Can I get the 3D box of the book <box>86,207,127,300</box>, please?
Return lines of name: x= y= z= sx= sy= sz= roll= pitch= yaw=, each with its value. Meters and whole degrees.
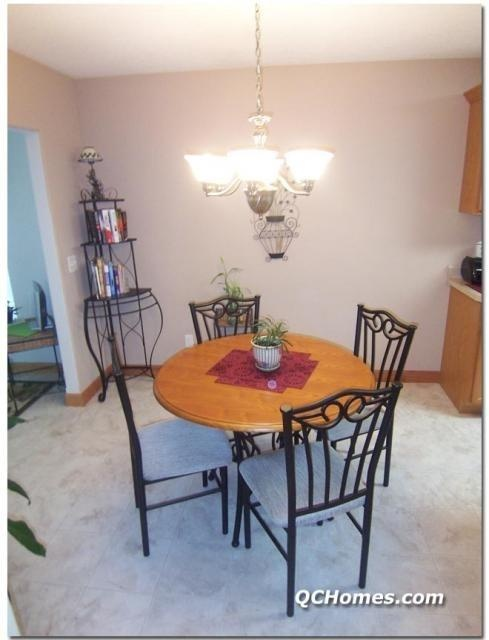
book: x=-1.026 y=-0.531 z=3.709 sx=0.327 sy=0.663 sz=0.425 roll=-8 pitch=15 yaw=-17

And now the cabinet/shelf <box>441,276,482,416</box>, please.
cabinet/shelf: x=1.488 y=0.180 z=3.328 sx=0.278 sy=0.777 sz=0.771 roll=3 pitch=12 yaw=16

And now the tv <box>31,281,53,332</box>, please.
tv: x=-1.609 y=-0.110 z=3.858 sx=0.104 sy=0.334 sz=0.329 roll=-3 pitch=13 yaw=-24

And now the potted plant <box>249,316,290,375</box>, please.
potted plant: x=0.157 y=0.125 z=2.391 sx=0.181 sy=0.262 sz=0.254 roll=-5 pitch=25 yaw=-11

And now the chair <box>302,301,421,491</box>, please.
chair: x=0.530 y=0.390 z=2.562 sx=0.537 sy=0.905 sz=0.549 roll=18 pitch=20 yaw=41

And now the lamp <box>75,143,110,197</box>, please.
lamp: x=-1.109 y=-1.074 z=3.553 sx=0.180 sy=0.384 sz=0.504 roll=-8 pitch=15 yaw=-16

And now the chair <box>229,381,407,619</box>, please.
chair: x=0.261 y=0.643 z=2.007 sx=0.472 sy=0.965 sz=0.532 roll=-7 pitch=17 yaw=-25

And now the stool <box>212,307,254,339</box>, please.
stool: x=-0.073 y=0.008 z=3.392 sx=0.196 sy=0.399 sz=0.222 roll=5 pitch=6 yaw=33

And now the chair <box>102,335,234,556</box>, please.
chair: x=-0.337 y=0.570 z=2.296 sx=0.546 sy=0.912 sz=0.598 roll=1 pitch=15 yaw=9
